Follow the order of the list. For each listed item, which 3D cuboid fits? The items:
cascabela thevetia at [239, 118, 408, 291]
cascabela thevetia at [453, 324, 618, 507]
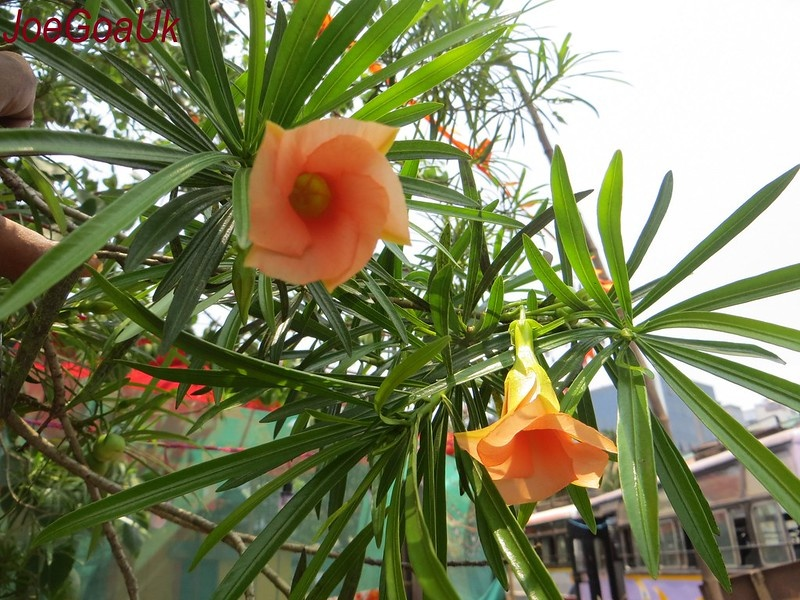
[{"bbox_3d":[-0.113,-0.119,0.795,0.198,0.247,0.151,1,3,-37],"label":"cascabela thevetia"},{"bbox_3d":[0.187,0.243,1.065,0.216,0.284,0.262,-39,-61,21],"label":"cascabela thevetia"}]
